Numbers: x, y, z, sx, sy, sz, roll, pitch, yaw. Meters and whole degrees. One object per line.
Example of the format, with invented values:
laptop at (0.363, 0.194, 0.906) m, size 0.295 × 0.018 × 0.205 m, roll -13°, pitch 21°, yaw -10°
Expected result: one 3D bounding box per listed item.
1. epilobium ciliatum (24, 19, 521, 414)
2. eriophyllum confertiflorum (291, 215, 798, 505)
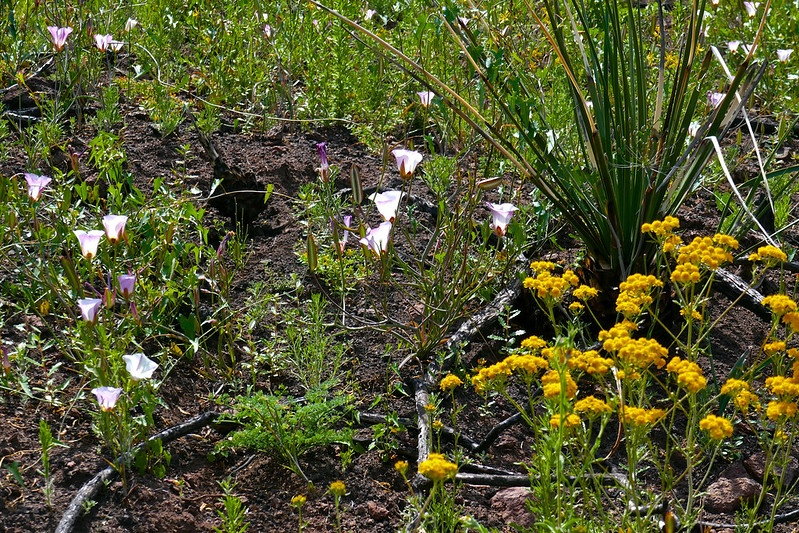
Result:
epilobium ciliatum at (-0.322, 0.056, 3.997) m, size 1.513 × 0.521 × 1.621 m, roll -13°, pitch 24°, yaw 16°
eriophyllum confertiflorum at (0.702, 0.362, 4.064) m, size 0.927 × 1.124 × 2.604 m, roll 1°, pitch 3°, yaw -9°
